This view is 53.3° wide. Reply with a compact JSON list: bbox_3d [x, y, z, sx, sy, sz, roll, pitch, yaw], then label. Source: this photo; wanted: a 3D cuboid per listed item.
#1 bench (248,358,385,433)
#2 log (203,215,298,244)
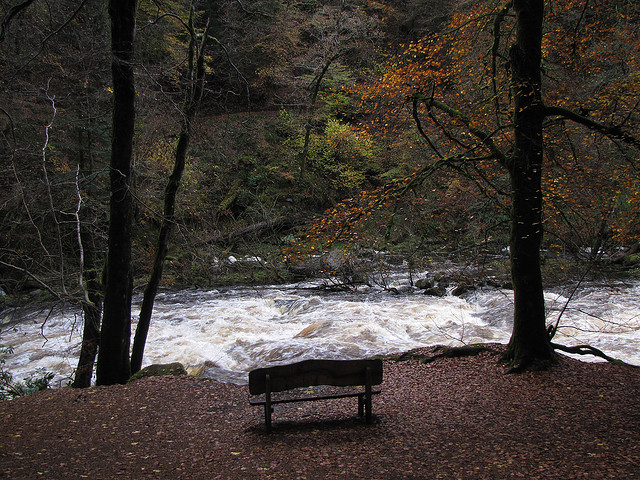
[{"bbox_3d":[-0.078,3.404,14.919,2.965,1.641,1.470,-2,14,-4],"label":"bench"},{"bbox_3d":[-3.437,-0.482,32.213,4.816,0.519,0.493,-15,-6,3],"label":"log"}]
